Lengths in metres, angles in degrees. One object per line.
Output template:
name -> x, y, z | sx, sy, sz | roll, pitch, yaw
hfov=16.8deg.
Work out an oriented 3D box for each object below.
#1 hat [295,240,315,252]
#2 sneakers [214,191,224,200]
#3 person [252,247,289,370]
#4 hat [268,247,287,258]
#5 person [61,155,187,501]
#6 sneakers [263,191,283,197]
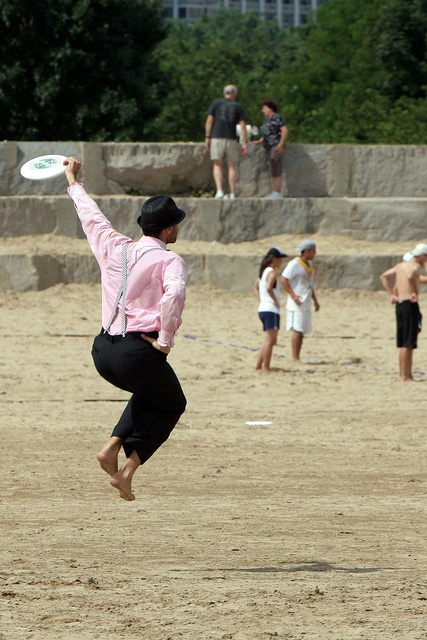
hat -> 0.940, -0.766, 14.942 | 0.184, 0.158, 0.261 | 1, 11, 1
sneakers -> 0.050, -1.679, 19.305 | 0.140, 0.176, 0.397 | 1, 7, -3
person -> 0.559, -0.104, 14.941 | 0.318, 1.306, 0.656 | 1, 11, 2
hat -> 0.649, -0.676, 14.804 | 0.182, 0.099, 0.115 | -5, 22, -29
person -> -0.583, 0.204, 9.581 | 0.844, 2.048, 0.540 | 4, 11, 16
sneakers -> 0.781, -1.705, 19.530 | 0.254, 0.113, 0.089 | 2, 4, 22
